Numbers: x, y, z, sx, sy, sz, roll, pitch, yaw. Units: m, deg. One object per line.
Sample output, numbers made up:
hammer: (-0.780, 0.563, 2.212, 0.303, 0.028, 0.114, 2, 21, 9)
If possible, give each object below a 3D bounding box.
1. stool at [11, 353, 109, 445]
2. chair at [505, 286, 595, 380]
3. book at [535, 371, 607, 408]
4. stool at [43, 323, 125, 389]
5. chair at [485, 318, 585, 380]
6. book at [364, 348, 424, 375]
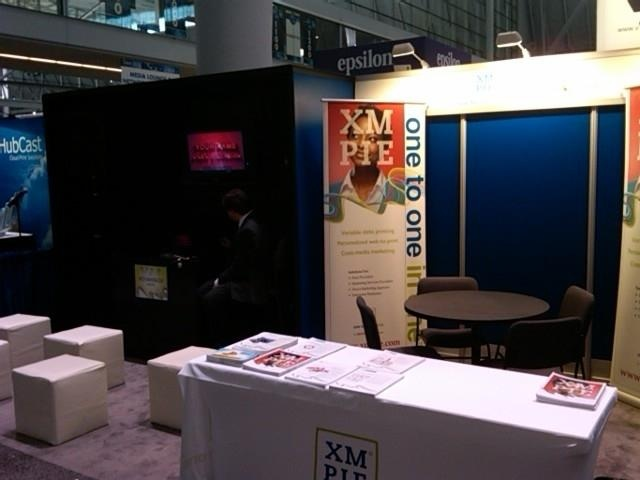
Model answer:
stool: (-2.115, 1.271, 4.369, 0.603, 0.649, 0.630, 3, 9, 33)
chair: (1.826, 0.766, 4.187, 0.653, 0.768, 0.642, -4, 8, 8)
book: (1.303, 0.787, 2.677, 0.287, 0.040, 0.338, 6, 12, 34)
stool: (-2.298, 1.213, 5.112, 0.707, 0.530, 0.709, -2, -3, -35)
chair: (1.705, 0.793, 4.096, 0.419, 0.605, 0.486, -1, 6, 2)
book: (0.441, 0.745, 3.125, 0.220, 0.027, 0.202, 2, 9, 39)
